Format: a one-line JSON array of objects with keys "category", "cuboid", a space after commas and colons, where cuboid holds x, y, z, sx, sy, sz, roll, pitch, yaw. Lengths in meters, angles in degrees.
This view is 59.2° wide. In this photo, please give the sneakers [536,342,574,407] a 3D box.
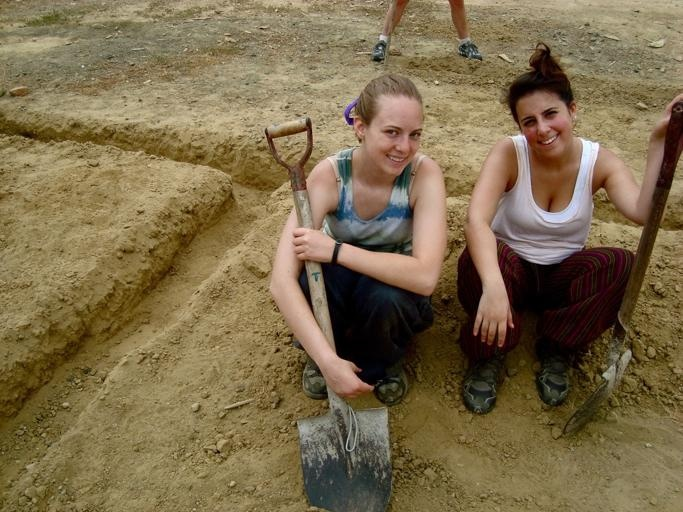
[{"category": "sneakers", "cuboid": [1.183, 0.674, 3.315, 0.165, 0.171, 0.450, 15, 21, 22]}]

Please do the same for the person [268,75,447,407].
[{"category": "person", "cuboid": [0.120, -0.075, 3.146, 0.779, 1.574, 1.038, 19, 36, 26]}]

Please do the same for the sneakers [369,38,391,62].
[{"category": "sneakers", "cuboid": [0.396, -2.201, 6.493, 0.108, 0.148, 0.334, 7, 50, 12]}]

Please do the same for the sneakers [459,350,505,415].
[{"category": "sneakers", "cuboid": [0.770, 0.700, 3.295, 0.163, 0.104, 0.340, 11, 52, 18]}]

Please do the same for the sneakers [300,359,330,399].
[{"category": "sneakers", "cuboid": [-0.152, 0.695, 3.350, 0.095, 0.116, 0.270, -6, 55, -14]}]

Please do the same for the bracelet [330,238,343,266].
[{"category": "bracelet", "cuboid": [-0.029, -0.022, 3.003, 0.053, 0.103, 0.097, 16, 2, 18]}]

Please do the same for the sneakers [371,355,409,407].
[{"category": "sneakers", "cuboid": [0.278, 0.711, 3.340, 0.134, 0.114, 0.262, -6, 32, 13]}]

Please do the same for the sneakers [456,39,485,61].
[{"category": "sneakers", "cuboid": [1.399, -2.190, 6.536, 0.162, 0.142, 0.312, -44, 71, 2]}]
